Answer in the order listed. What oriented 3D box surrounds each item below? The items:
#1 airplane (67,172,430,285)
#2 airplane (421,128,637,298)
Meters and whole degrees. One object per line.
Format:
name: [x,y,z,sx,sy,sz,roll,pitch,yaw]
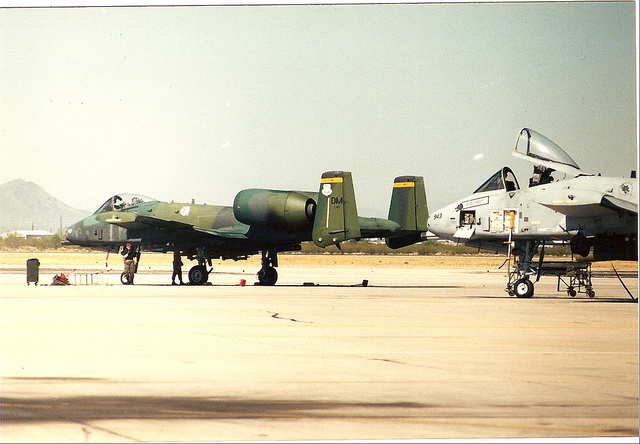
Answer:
airplane: [-2.743,0.228,23.612,12.224,3.664,4.598,0,-4,18]
airplane: [6.401,-0.333,20.748,6.572,3.987,5.115,0,0,32]
